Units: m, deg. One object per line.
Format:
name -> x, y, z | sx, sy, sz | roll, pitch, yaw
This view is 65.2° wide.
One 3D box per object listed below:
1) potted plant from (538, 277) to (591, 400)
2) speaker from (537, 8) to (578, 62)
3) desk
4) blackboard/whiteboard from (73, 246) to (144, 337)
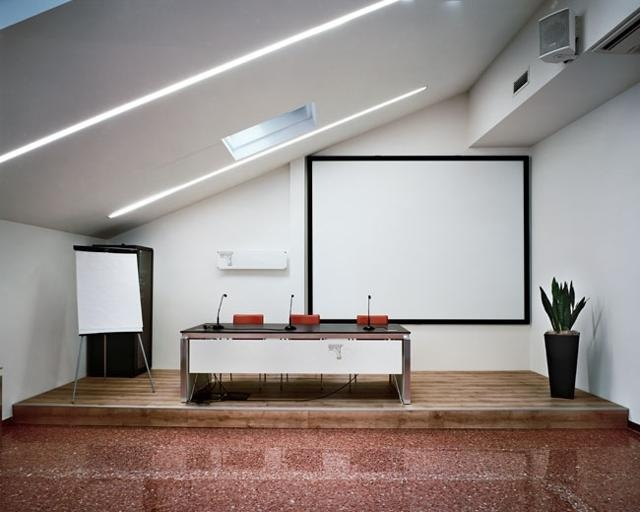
potted plant -> 3.038, 1.046, 6.261 | 0.431, 1.424, 0.468 | -1, 9, -2
speaker -> 2.431, -2.245, 5.108 | 0.368, 0.488, 0.269 | 4, 10, 26
desk -> -0.298, 1.345, 6.321 | 2.789, 0.931, 0.704 | 0, 9, 2
blackboard/whiteboard -> -2.835, 0.468, 6.628 | 1.177, 1.543, 0.127 | 2, -13, -38
